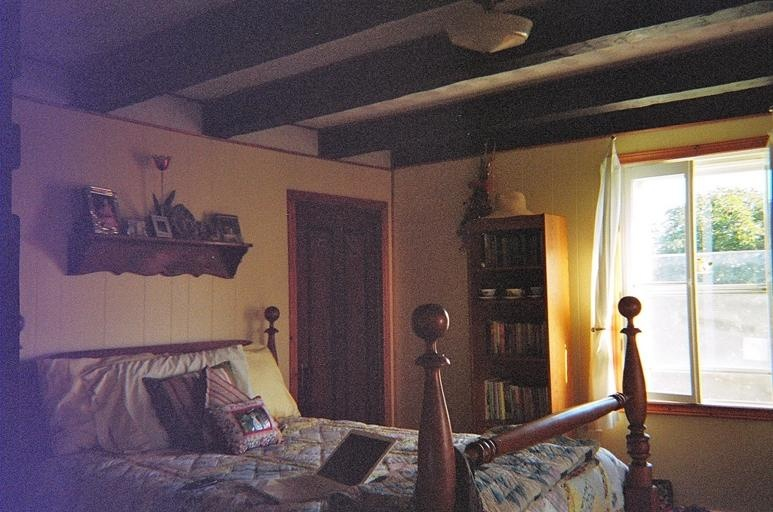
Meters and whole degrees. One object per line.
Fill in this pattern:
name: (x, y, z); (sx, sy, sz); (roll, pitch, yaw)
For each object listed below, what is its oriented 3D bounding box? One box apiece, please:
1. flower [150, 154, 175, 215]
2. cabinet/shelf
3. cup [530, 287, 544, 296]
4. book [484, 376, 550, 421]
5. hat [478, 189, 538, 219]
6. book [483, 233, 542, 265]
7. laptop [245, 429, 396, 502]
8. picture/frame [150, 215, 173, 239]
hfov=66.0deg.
flower: (-1.734, -0.543, 4.629); (0.192, 0.501, 0.167); (-5, 1, -42)
cabinet/shelf: (1.227, 0.657, 5.459); (0.771, 1.996, 0.488); (-3, 1, 39)
cup: (1.346, 0.313, 5.338); (0.081, 0.061, 0.083); (-1, -1, 0)
book: (1.216, 1.173, 5.539); (0.617, 0.576, 0.333); (-3, -4, 22)
hat: (1.104, -0.447, 5.474); (0.327, 0.159, 0.335); (-4, -2, 28)
book: (1.122, -0.038, 5.582); (0.498, 0.281, 0.522); (-5, -4, -1)
laptop: (-0.383, 1.108, 3.250); (0.552, 0.191, 0.401); (17, -13, -41)
picture/frame: (-1.751, -0.220, 4.571); (0.019, 0.197, 0.178); (-21, -7, 34)
